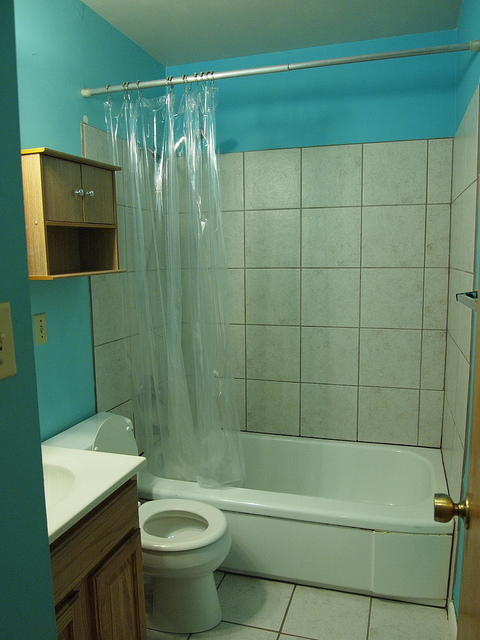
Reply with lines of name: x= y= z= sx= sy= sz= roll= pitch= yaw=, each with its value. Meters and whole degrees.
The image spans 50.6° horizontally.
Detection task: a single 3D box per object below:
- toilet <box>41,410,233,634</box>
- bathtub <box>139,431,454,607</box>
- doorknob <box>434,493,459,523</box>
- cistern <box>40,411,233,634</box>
toilet: x=-0.357 y=0.844 z=1.941 sx=0.538 sy=0.881 sz=0.645 roll=3 pitch=7 yaw=4
bathtub: x=0.241 y=0.834 z=2.111 sx=1.199 sy=0.599 sz=0.644 roll=2 pitch=7 yaw=18
doorknob: x=0.327 y=0.305 z=0.827 sx=0.041 sy=0.051 sz=0.048 roll=0 pitch=-25 yaw=12
cistern: x=-0.340 y=0.746 z=2.214 sx=0.651 sy=1.060 sz=0.555 roll=0 pitch=3 yaw=9
